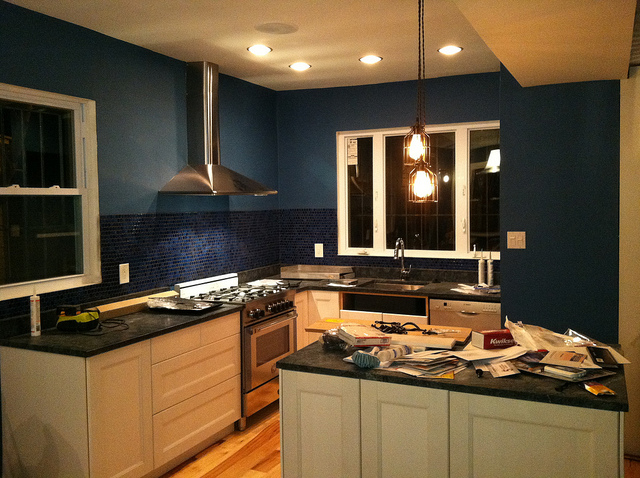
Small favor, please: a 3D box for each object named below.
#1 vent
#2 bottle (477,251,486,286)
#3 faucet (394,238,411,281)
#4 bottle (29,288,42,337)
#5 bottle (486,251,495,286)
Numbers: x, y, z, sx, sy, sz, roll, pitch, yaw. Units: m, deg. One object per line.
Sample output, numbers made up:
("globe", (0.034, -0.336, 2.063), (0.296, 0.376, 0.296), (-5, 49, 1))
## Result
("vent", (-0.971, -1.061, 4.804), (0.793, 1.479, 1.283), (1, 2, 26))
("bottle", (1.581, 0.285, 5.107), (0.067, 0.291, 0.355), (1, 6, 16))
("faucet", (0.863, 0.204, 5.506), (0.168, 0.435, 0.266), (0, 6, 7))
("bottle", (-1.915, 0.501, 3.515), (0.076, 0.286, 0.187), (-4, 7, -29))
("bottle", (1.662, 0.286, 5.093), (0.055, 0.298, 0.315), (1, 6, 18))
